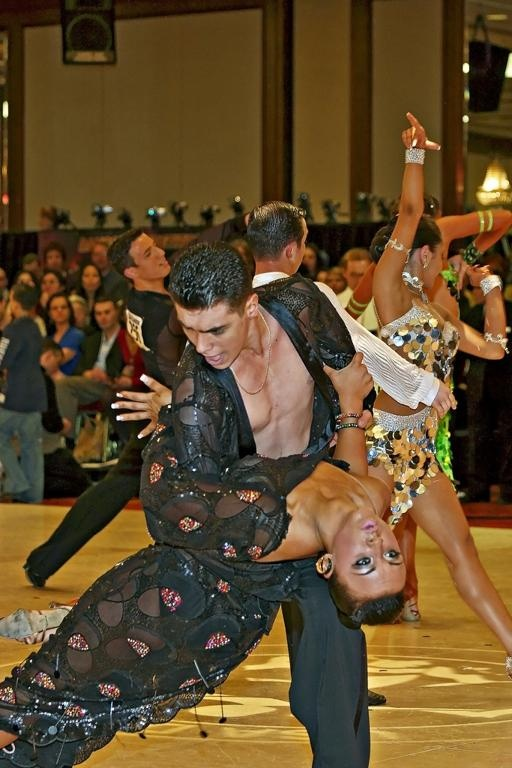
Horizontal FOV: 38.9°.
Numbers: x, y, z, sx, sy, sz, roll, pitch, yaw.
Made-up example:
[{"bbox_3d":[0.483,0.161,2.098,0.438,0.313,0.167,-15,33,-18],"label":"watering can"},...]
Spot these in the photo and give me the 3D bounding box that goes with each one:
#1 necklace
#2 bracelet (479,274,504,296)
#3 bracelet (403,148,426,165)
[{"bbox_3d":[0.003,-0.055,1.364,0.040,0.144,0.090,-2,12,20],"label":"necklace"},{"bbox_3d":[0.902,-0.387,2.806,0.073,0.079,0.090,-3,-16,6],"label":"bracelet"},{"bbox_3d":[0.521,-0.733,2.393,0.072,0.060,0.085,1,1,11],"label":"bracelet"}]
